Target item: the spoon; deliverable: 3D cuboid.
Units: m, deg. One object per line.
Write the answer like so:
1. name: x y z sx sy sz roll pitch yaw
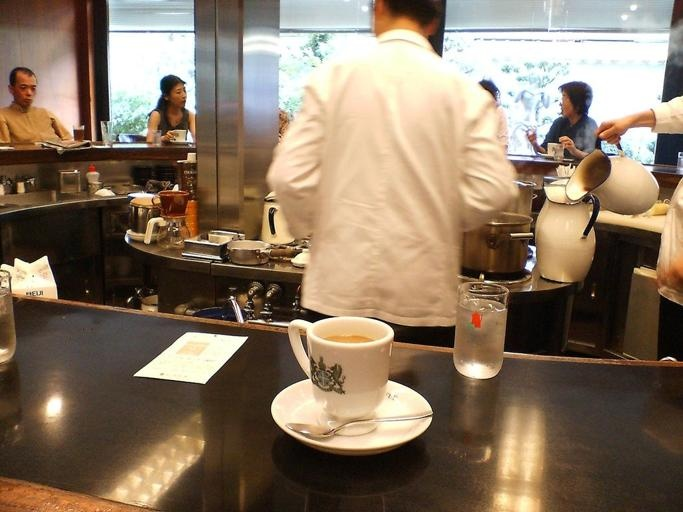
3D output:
1. spoon: 0.022 0.272 0.865 0.262 0.029 0.054 -1 5 -7

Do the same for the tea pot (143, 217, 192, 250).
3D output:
1. tea pot: -0.834 -0.133 2.616 0.224 0.157 0.152 -8 15 -37

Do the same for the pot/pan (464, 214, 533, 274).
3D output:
1. pot/pan: 0.606 -0.044 2.199 0.217 0.196 0.272 -8 15 -30

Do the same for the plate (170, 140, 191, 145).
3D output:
1. plate: -1.484 -1.054 4.984 0.163 0.034 0.395 -7 15 -18

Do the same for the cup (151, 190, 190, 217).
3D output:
1. cup: -0.808 -0.246 2.529 0.116 0.093 0.138 3 0 9

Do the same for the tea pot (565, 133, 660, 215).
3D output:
1. tea pot: 1.017 -0.301 2.127 0.302 0.207 0.323 9 5 -1

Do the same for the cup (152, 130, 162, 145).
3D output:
1. cup: -1.660 -1.073 4.826 0.060 0.107 0.114 -9 15 -24

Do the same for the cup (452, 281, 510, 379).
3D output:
1. cup: 0.280 0.149 1.094 0.103 0.182 0.116 1 15 14

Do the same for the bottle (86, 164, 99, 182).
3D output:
1. bottle: -1.897 -0.639 4.107 0.092 0.128 0.286 -8 15 -23

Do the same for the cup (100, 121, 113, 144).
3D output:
1. cup: -2.024 -1.069 4.645 0.085 0.189 0.363 -8 15 -23

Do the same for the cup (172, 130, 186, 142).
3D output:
1. cup: -1.533 -1.139 5.077 0.118 0.111 0.147 1 8 -2

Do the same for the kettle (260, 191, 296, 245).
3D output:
1. kettle: -0.304 -0.179 2.615 0.165 0.217 0.250 4 19 10
